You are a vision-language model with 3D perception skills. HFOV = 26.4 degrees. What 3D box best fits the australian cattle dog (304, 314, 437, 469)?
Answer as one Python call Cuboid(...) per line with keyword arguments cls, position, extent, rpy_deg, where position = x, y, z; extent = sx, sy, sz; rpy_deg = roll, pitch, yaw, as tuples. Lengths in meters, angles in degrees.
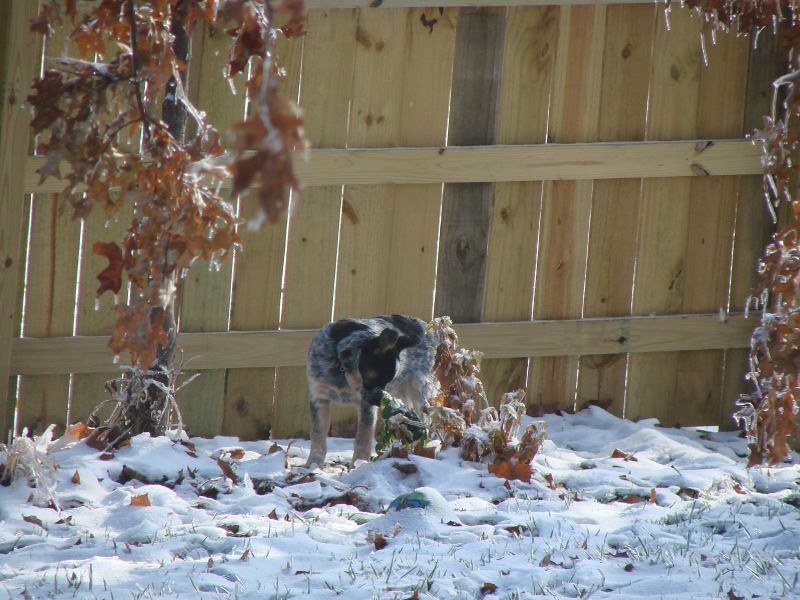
Cuboid(cls="australian cattle dog", position=(-0.189, 0.587, 11.949), extent=(0.925, 1.135, 0.826), rpy_deg=(-2, -13, -1))
